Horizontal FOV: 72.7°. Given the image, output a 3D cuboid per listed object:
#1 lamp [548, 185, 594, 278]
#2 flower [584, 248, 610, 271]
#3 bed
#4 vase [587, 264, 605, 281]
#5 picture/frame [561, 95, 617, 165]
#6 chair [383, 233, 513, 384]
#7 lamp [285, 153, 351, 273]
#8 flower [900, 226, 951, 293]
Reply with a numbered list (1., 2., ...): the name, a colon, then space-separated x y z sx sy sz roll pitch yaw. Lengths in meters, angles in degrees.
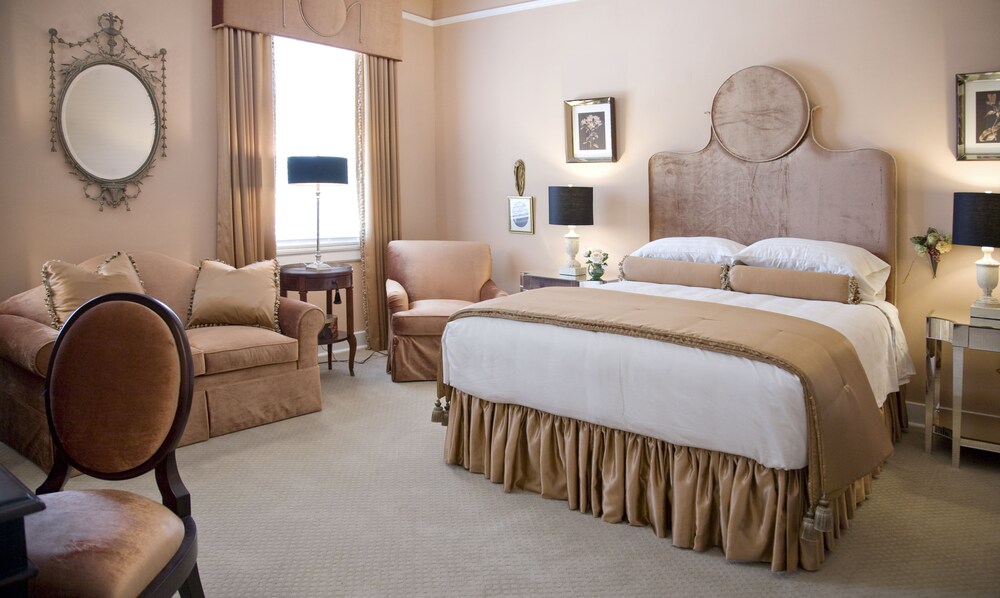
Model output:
1. lamp: 0.710 -0.672 6.689 0.491 0.855 0.479 -2 5 -11
2. flower: 0.903 -0.377 6.395 0.209 0.155 0.202 0 0 12
3. bed: 1.411 -0.235 5.014 2.803 3.179 2.810 6 12 34
4. vase: 0.917 -0.247 6.380 0.153 0.140 0.141 -2 6 -12
5. picture/frame: 0.895 -1.674 6.648 0.737 0.799 0.114 1 6 36
6. chair: -0.564 0.059 6.586 1.308 1.269 1.261 4 9 33
7. lamp: -1.762 -0.840 6.443 0.510 1.039 0.677 -7 12 -27
8. flower: 3.344 -0.358 5.278 0.391 0.347 0.301 -11 10 2
